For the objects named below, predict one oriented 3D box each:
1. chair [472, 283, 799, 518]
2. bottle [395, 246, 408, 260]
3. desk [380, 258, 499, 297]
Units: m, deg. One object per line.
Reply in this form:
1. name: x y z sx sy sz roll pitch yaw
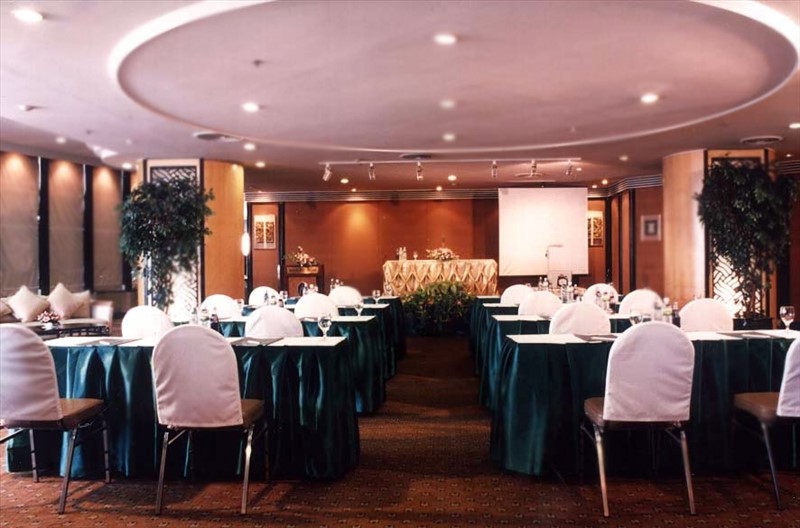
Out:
1. chair: 2.014 1.216 5.491 2.375 1.170 0.666 -1 12 -5
2. bottle: 0.068 -0.213 14.139 0.284 0.379 0.370 -1 27 3
3. desk: 0.819 0.227 12.796 2.343 0.899 0.404 0 31 1
